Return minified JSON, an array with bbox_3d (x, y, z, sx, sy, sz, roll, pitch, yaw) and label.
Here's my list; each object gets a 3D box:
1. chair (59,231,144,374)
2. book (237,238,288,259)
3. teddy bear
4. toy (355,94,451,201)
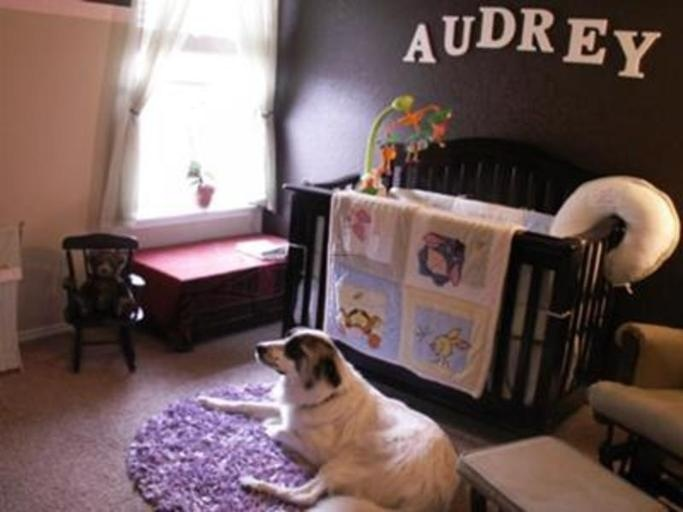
[{"bbox_3d":[-1.437,0.290,3.142,0.464,0.773,0.510,7,14,3],"label":"chair"},{"bbox_3d":[-0.607,-0.052,3.964,0.221,0.057,0.227,-6,17,-42],"label":"book"},{"bbox_3d":[-1.414,0.176,3.126,0.418,0.464,0.317,3,12,-15],"label":"teddy bear"},{"bbox_3d":[0.408,-0.743,3.588,0.722,0.789,0.290,-5,-17,27],"label":"toy"}]
